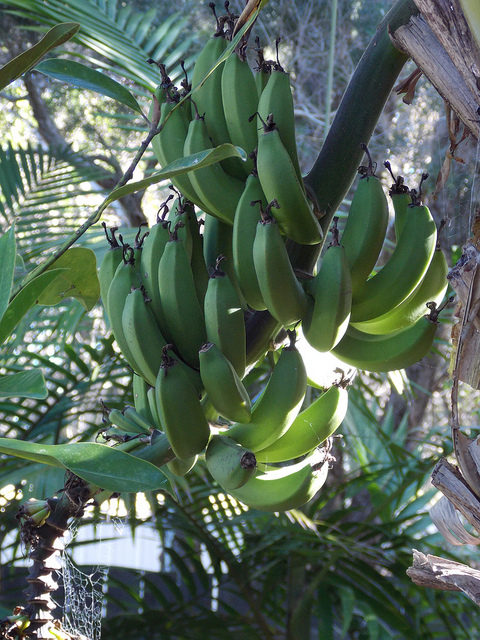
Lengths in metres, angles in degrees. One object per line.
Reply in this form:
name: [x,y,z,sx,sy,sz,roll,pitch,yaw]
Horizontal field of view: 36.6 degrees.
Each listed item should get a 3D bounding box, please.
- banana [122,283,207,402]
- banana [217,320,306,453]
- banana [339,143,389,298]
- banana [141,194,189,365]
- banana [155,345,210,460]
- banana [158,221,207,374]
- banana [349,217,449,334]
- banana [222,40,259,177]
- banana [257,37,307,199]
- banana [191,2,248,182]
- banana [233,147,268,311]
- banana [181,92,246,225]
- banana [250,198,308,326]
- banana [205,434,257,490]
banana: [-0.120,0.030,1.202,0.047,0.202,0.073,-38,29,-18]
banana: [0.038,0.115,1.232,0.060,0.219,0.092,21,6,-34]
banana: [0.225,-0.165,1.294,0.076,0.277,0.108,15,-21,-14]
banana: [-0.130,-0.086,1.344,0.069,0.111,0.307,29,-21,8]
banana: [-0.093,0.138,1.167,0.069,0.184,0.058,-23,16,-32]
banana: [-0.076,-0.036,1.276,0.065,0.282,0.101,-12,6,-34]
banana: [0.278,-0.077,1.281,0.038,0.211,0.081,30,7,-16]
banana: [0.005,-0.357,1.250,0.054,0.227,0.087,-11,11,-28]
banana: [0.038,-0.310,1.169,0.068,0.105,0.280,-3,47,-6]
banana: [-0.045,-0.387,1.282,0.081,0.337,0.128,-7,0,-14]
banana: [0.014,-0.141,1.184,0.065,0.244,0.086,0,8,-23]
banana: [-0.059,-0.270,1.278,0.079,0.242,0.064,-26,-12,39]
banana: [0.059,-0.080,1.162,0.063,0.211,0.087,-2,18,28]
banana: [-0.022,0.214,1.166,0.043,0.057,0.108,-15,33,-26]
